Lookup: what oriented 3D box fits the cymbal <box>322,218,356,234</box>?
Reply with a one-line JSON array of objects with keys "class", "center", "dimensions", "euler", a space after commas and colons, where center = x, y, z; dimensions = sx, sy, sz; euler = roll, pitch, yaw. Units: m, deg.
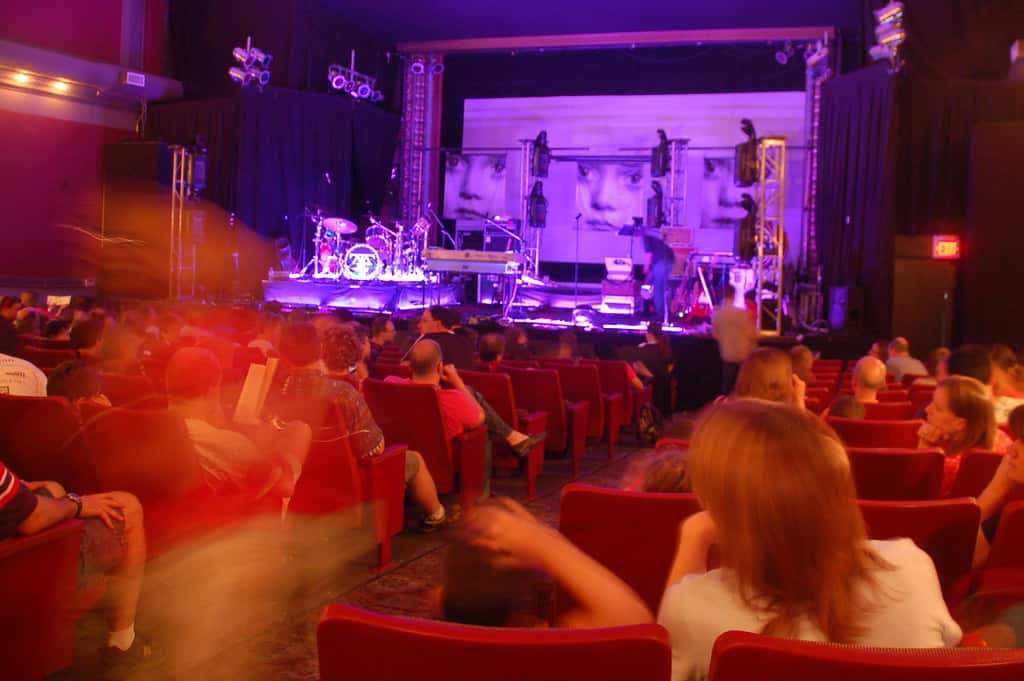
[{"class": "cymbal", "center": [-3.302, -2.207, 14.743], "dimensions": [0.619, 0.288, 0.451], "euler": [0, 13, -12]}]

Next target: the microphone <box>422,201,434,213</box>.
[{"class": "microphone", "center": [-1.805, -2.903, 16.764], "dimensions": [0.281, 0.296, 0.169], "euler": [-1, 4, -12]}]

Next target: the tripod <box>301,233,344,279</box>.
[{"class": "tripod", "center": [-3.469, -1.604, 14.887], "dimensions": [0.842, 0.936, 0.825], "euler": [-1, 6, -41]}]

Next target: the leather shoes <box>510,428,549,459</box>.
[{"class": "leather shoes", "center": [0.138, 0.781, 5.843], "dimensions": [0.126, 0.113, 0.334], "euler": [40, 36, 11]}]

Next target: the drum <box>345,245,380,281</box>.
[{"class": "drum", "center": [-2.814, -1.478, 14.479], "dimensions": [0.726, 0.615, 0.373], "euler": [0, 13, -11]}]
